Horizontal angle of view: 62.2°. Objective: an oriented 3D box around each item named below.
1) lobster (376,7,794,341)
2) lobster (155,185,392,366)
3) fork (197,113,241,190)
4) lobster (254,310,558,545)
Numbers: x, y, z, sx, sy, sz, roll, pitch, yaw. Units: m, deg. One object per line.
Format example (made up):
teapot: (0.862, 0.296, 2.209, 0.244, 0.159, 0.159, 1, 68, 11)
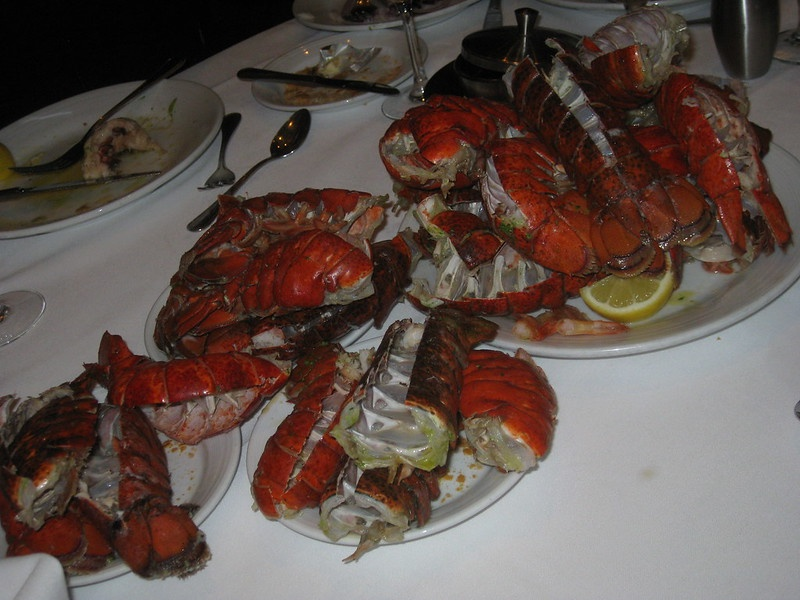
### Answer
lobster: (0.552, -0.177, 1.854, 0.903, 0.286, 0.889, -16, 54, 20)
lobster: (-0.311, -0.027, 1.738, 0.553, 0.160, 0.385, -17, 53, 16)
fork: (-0.650, -0.552, 2.418, 0.116, 0.075, 0.643, -25, -2, -25)
lobster: (0.014, 0.223, 1.490, 0.633, 0.237, 0.561, -15, 29, -21)
